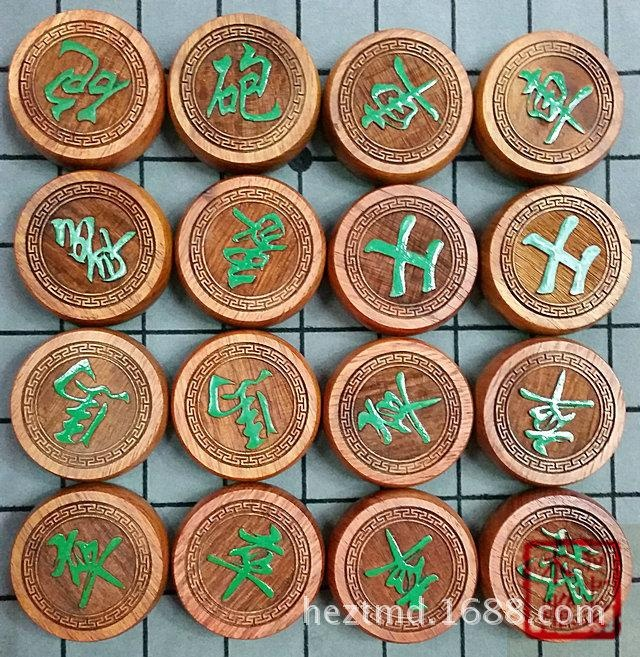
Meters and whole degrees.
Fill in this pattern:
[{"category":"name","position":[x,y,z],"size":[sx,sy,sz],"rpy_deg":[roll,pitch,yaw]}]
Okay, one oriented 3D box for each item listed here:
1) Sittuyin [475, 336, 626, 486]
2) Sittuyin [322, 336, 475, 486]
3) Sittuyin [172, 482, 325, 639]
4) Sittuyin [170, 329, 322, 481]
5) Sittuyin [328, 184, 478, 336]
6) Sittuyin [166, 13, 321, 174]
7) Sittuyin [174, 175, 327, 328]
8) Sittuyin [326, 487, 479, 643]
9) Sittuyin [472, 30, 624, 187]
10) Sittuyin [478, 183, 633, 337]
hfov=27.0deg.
[{"category":"Sittuyin","position":[0.513,0.176,2.917],"size":[0.366,0.086,0.298],"rpy_deg":[3,88,0]},{"category":"Sittuyin","position":[0.157,0.180,2.934],"size":[0.382,0.086,0.317],"rpy_deg":[-5,85,-31]},{"category":"Sittuyin","position":[-0.144,0.514,2.913],"size":[0.376,0.086,0.320],"rpy_deg":[8,84,30]},{"category":"Sittuyin","position":[-0.161,0.180,2.891],"size":[0.392,0.083,0.319],"rpy_deg":[-1,87,-2]},{"category":"Sittuyin","position":[0.232,-0.168,2.935],"size":[0.091,0.362,0.323],"rpy_deg":[-14,84,-45]},{"category":"Sittuyin","position":[-0.165,-0.516,2.887],"size":[0.324,0.108,0.311],"rpy_deg":[-3,73,0]},{"category":"Sittuyin","position":[-0.152,-0.169,2.895],"size":[0.319,0.113,0.311],"rpy_deg":[-6,73,0]},{"category":"Sittuyin","position":[0.186,0.520,2.889],"size":[0.311,0.090,0.307],"rpy_deg":[-1,73,1]},{"category":"Sittuyin","position":[0.520,-0.475,2.881],"size":[0.369,0.088,0.300],"rpy_deg":[-4,89,1]},{"category":"Sittuyin","position":[0.524,-0.150,2.941],"size":[0.332,0.119,0.314],"rpy_deg":[-9,73,-1]}]
